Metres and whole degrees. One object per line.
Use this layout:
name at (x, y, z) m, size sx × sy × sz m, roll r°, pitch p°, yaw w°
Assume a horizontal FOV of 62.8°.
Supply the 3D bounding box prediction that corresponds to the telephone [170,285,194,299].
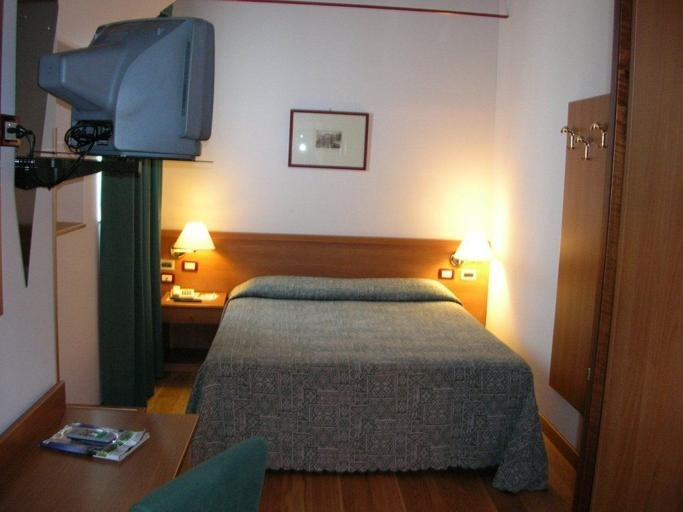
telephone at (-1.339, 0.311, 4.729) m, size 0.195 × 0.069 × 0.118 m, roll 1°, pitch 13°, yaw -5°

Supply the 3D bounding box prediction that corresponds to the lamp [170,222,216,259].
lamp at (-1.257, -0.160, 4.770) m, size 0.291 × 0.284 × 0.313 m, roll 4°, pitch 7°, yaw 24°

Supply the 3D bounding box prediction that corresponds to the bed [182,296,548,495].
bed at (0.166, 0.898, 3.728) m, size 2.100 × 0.738 × 1.063 m, roll 2°, pitch 13°, yaw 0°

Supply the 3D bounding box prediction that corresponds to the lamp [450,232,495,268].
lamp at (1.159, -0.040, 4.959) m, size 0.380 × 0.352 × 0.365 m, roll 4°, pitch 13°, yaw 13°

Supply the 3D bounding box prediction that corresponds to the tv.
tv at (-0.721, -0.540, 1.933) m, size 0.503 × 0.496 × 0.466 m, roll 7°, pitch 7°, yaw 41°
